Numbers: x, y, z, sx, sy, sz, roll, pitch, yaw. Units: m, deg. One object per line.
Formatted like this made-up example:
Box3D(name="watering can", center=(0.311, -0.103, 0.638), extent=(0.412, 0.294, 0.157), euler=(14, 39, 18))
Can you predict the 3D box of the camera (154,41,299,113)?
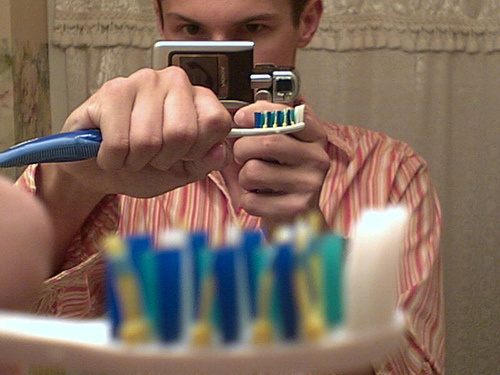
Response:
Box3D(name="camera", center=(-0.039, -0.211, 1.320), extent=(0.259, 0.130, 0.057), euler=(0, 27, -7))
